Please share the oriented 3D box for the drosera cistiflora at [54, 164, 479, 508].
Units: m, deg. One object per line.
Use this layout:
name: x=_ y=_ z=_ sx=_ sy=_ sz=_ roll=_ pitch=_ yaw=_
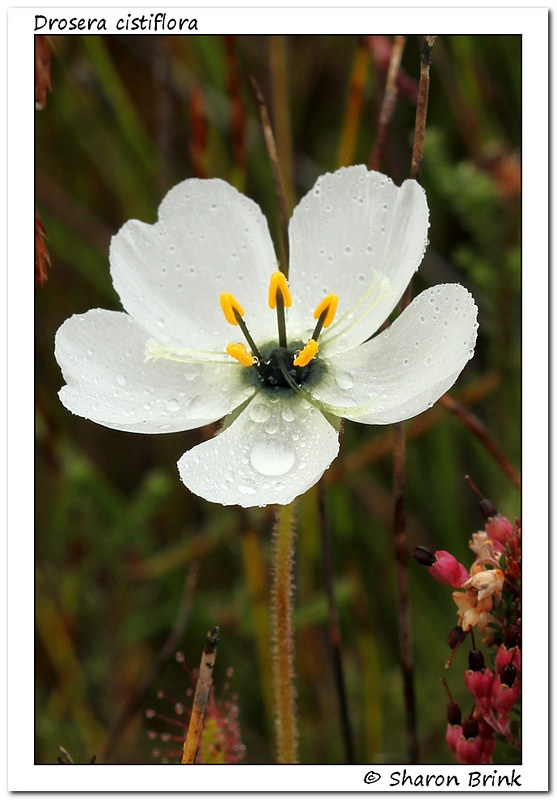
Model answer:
drosera cistiflora: x=-0.009 y=-0.081 z=0.911 sx=0.382 sy=0.182 sz=0.449 roll=-4 pitch=57 yaw=23
